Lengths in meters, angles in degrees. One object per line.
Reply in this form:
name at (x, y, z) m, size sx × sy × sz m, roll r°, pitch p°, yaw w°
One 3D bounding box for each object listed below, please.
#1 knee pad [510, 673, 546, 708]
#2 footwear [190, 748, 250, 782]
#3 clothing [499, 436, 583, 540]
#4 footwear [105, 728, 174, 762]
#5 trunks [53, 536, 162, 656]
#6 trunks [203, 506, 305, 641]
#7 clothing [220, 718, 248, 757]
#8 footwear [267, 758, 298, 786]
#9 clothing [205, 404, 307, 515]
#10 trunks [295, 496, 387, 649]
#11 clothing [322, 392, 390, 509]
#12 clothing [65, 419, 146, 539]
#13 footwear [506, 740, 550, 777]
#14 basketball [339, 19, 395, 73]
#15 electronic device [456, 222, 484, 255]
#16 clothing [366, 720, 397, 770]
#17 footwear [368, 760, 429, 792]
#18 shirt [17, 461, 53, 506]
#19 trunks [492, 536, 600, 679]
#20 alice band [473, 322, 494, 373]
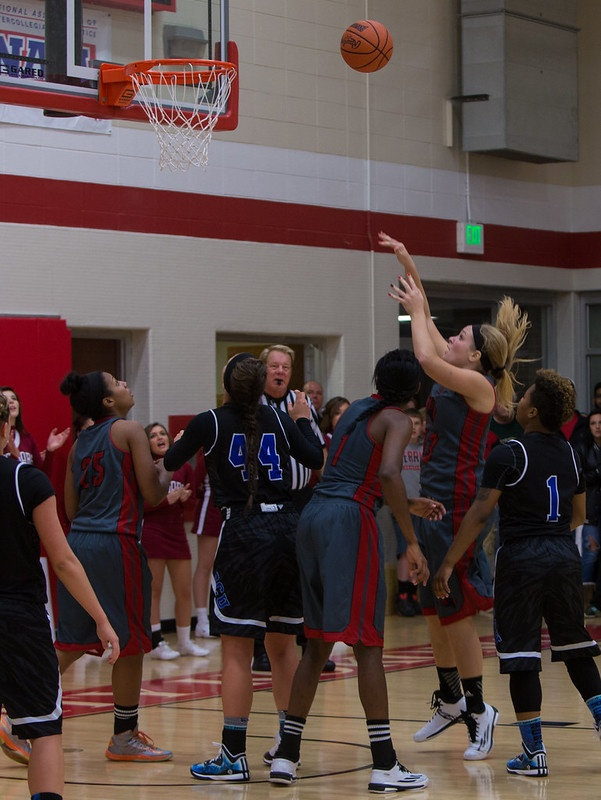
knee pad at (0.832, 1.083, 3.557) m, size 0.108 × 0.155 × 0.123 m, roll -2°, pitch -8°, yaw 11°
footwear at (-0.289, 1.413, 3.703) m, size 0.261 × 0.146 × 0.095 m, roll 2°, pitch -16°, yaw 10°
clothing at (0.919, 0.356, 3.676) m, size 0.329 × 0.397 × 0.212 m, roll 6°, pitch -10°, yaw -11°
footwear at (-0.681, 1.450, 4.041) m, size 0.328 × 0.145 × 0.110 m, roll 1°, pitch -3°, yaw 2°
trunks at (-0.814, 0.795, 3.984) m, size 0.441 × 0.539 × 0.304 m, roll -1°, pitch -5°, yaw 16°
trunks at (-0.191, 0.722, 3.814) m, size 0.431 × 0.545 × 0.313 m, roll 8°, pitch -25°, yaw -34°
clothing at (-0.255, 1.294, 3.670) m, size 0.088 × 0.162 × 0.182 m, roll 1°, pitch -8°, yaw -5°
footwear at (-0.066, 1.379, 3.556) m, size 0.099 × 0.111 × 0.189 m, roll 0°, pitch -8°, yaw -3°
clothing at (-0.174, 0.227, 3.844) m, size 0.335 × 0.388 × 0.212 m, roll 7°, pitch 12°, yaw -36°
trunks at (0.128, 0.649, 3.606) m, size 0.301 × 0.543 × 0.371 m, roll 9°, pitch -6°, yaw -28°
clothing at (0.192, 0.221, 3.689) m, size 0.279 × 0.405 × 0.229 m, roll 4°, pitch -5°, yaw 34°
clothing at (-0.782, 0.347, 4.058) m, size 0.388 × 0.554 × 0.306 m, roll -16°, pitch -18°, yaw 40°
footwear at (0.857, 1.383, 3.690) m, size 0.083 × 0.139 × 0.205 m, roll 7°, pitch -4°, yaw -34°
basketball at (0.503, -2.813, 7.439) m, size 0.376 × 0.500 × 0.314 m, roll 0°, pitch -8°, yaw 0°
electronic device at (1.821, -1.769, 10.404) m, size 0.386 × 0.367 × 0.119 m, roll 1°, pitch -2°, yaw -38°
clothing at (0.286, 1.223, 3.388) m, size 0.098 × 0.189 × 0.147 m, roll -1°, pitch -8°, yaw 5°
footwear at (0.334, 1.350, 3.438) m, size 0.244 × 0.122 × 0.086 m, roll 0°, pitch -4°, yaw -12°
shirt at (-0.676, 0.227, 2.453) m, size 0.089 × 0.128 × 0.070 m, roll 2°, pitch -8°, yaw -16°
trunks at (0.921, 0.766, 3.588) m, size 0.379 × 0.498 × 0.169 m, roll 2°, pitch -8°, yaw -16°
alice band at (0.746, -0.220, 3.982) m, size 0.039 × 0.154 × 0.114 m, roll -10°, pitch 9°, yaw -13°
